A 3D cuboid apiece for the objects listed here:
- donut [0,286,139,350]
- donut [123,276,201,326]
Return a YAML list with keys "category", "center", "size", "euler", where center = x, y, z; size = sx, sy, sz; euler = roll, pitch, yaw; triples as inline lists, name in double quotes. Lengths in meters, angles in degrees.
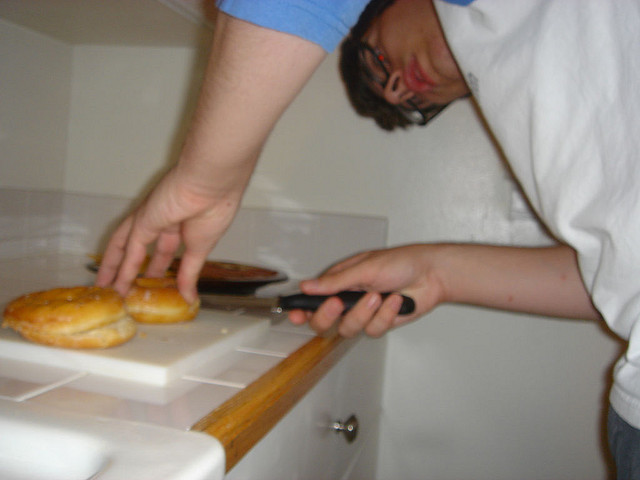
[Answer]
- category: "donut"
  center: [-0.308, 0.090, 0.564]
  size: [0.108, 0.043, 0.086]
  euler: [9, 13, -14]
- category: "donut"
  center: [-0.247, 0.095, 0.711]
  size: [0.122, 0.058, 0.131]
  euler: [10, 6, 43]
